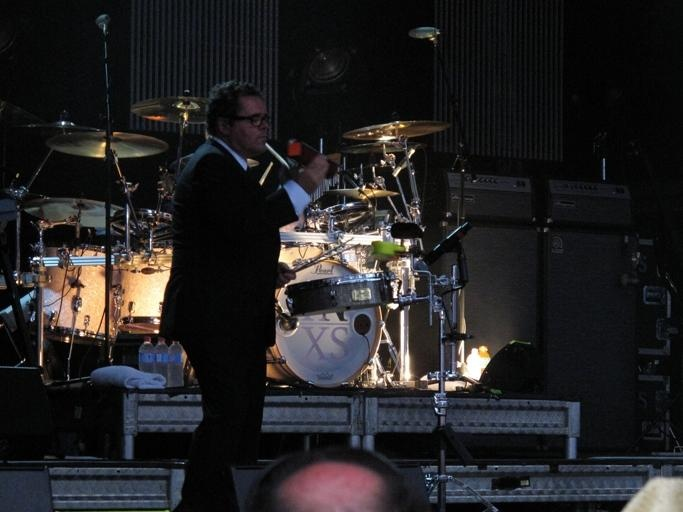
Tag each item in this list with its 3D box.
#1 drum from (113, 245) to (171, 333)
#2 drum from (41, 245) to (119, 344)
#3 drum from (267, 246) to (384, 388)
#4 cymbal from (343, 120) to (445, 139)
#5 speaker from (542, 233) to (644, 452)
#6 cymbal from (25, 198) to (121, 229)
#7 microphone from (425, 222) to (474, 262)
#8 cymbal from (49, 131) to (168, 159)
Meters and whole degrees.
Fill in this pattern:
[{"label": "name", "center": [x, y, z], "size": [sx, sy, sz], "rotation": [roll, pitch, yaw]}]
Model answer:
[{"label": "drum", "center": [-1.651, 0.254, 12.286], "size": [0.495, 0.818, 0.473], "rotation": [-2, 6, 0]}, {"label": "drum", "center": [-2.196, 0.300, 12.469], "size": [0.698, 0.685, 0.707], "rotation": [2, 0, -34]}, {"label": "drum", "center": [-0.130, 0.460, 11.658], "size": [0.786, 1.017, 0.592], "rotation": [0, 7, -21]}, {"label": "cymbal", "center": [0.428, -1.068, 12.556], "size": [0.713, 0.176, 0.634], "rotation": [-2, 6, -18]}, {"label": "speaker", "center": [2.047, 0.691, 12.399], "size": [0.780, 1.791, 0.369], "rotation": [0, -3, 1]}, {"label": "cymbal", "center": [-2.339, -0.343, 12.652], "size": [0.671, 0.225, 0.705], "rotation": [1, -4, -11]}, {"label": "microphone", "center": [0.842, -0.100, 11.551], "size": [0.113, 0.345, 0.127], "rotation": [47, -4, -12]}, {"label": "cymbal", "center": [-2.008, -0.908, 12.396], "size": [0.842, 0.176, 0.910], "rotation": [-1, -4, 25]}]
